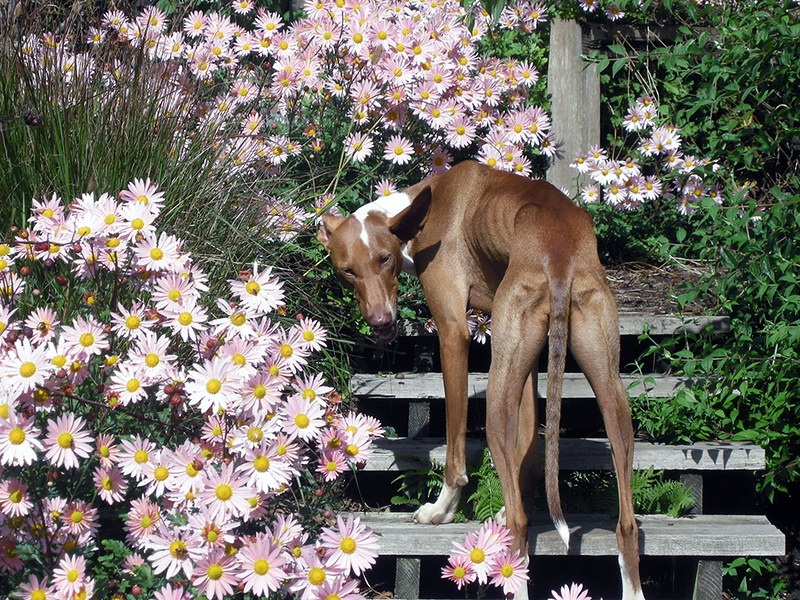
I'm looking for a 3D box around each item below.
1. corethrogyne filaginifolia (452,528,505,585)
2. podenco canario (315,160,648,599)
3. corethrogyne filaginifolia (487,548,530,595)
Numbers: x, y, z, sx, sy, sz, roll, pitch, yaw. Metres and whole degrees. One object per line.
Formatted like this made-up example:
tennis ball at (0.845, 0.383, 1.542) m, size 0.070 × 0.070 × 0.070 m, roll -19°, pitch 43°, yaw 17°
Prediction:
corethrogyne filaginifolia at (0.371, 1.169, 5.437) m, size 0.230 × 0.255 × 0.123 m, roll 21°, pitch -18°, yaw 21°
podenco canario at (0.432, -0.044, 5.833) m, size 2.087 × 2.463 × 1.292 m, roll 6°, pitch 7°, yaw 29°
corethrogyne filaginifolia at (0.490, 1.232, 5.388) m, size 0.179 × 0.162 × 0.128 m, roll -2°, pitch 16°, yaw -8°
